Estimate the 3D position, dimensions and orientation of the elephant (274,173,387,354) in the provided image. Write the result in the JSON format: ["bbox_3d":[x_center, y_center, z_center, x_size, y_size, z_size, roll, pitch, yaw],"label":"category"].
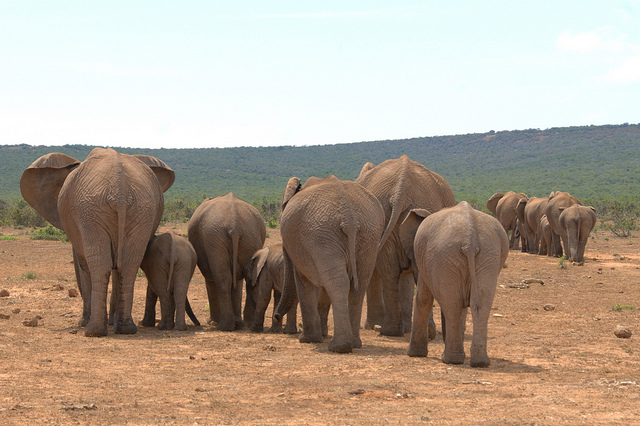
[{"bbox_3d":[0.016,0.919,13.885,1.769,3.040,3.949,1,-4,-17],"label":"elephant"}]

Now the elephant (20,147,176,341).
[{"bbox_3d":[-4.497,0.459,15.278,2.956,3.583,4.597,1,1,-23],"label":"elephant"}]

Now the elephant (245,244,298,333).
[{"bbox_3d":[-0.905,1.479,14.620,0.934,1.738,1.993,2,-2,-40],"label":"elephant"}]

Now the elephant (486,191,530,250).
[{"bbox_3d":[8.783,0.360,33.560,2.001,2.687,4.449,4,-1,8],"label":"elephant"}]

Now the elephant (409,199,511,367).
[{"bbox_3d":[2.186,1.124,11.875,1.409,2.643,0.912,0,1,44],"label":"elephant"}]

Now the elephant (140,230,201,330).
[{"bbox_3d":[-3.233,1.277,15.091,1.358,2.116,2.936,4,-7,-21],"label":"elephant"}]

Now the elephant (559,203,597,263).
[{"bbox_3d":[8.601,0.646,24.491,1.085,1.908,1.393,0,1,23],"label":"elephant"}]

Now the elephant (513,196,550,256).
[{"bbox_3d":[8.395,0.449,29.041,0.940,2.247,3.667,0,0,9],"label":"elephant"}]
